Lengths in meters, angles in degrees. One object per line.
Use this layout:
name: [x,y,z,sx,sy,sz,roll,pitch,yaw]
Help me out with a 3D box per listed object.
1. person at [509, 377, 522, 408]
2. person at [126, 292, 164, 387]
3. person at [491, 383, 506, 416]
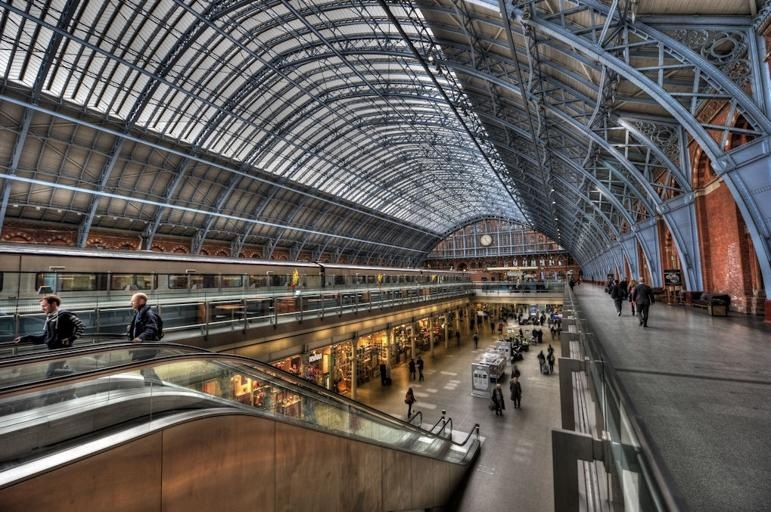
person: [6.829,6.992,22.839,0.460,1.519,0.617,-3,-14,13]
person: [-5.372,1.864,9.866,0.825,1.930,1.011,5,-34,-37]
person: [5.668,7.110,21.899,0.560,1.314,0.983,-3,-13,11]
